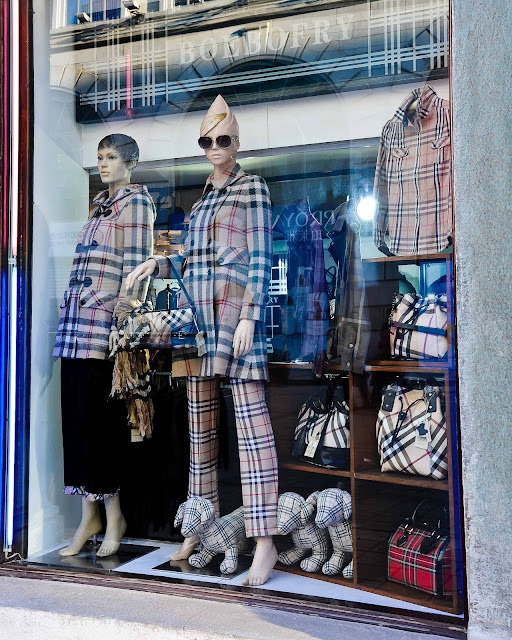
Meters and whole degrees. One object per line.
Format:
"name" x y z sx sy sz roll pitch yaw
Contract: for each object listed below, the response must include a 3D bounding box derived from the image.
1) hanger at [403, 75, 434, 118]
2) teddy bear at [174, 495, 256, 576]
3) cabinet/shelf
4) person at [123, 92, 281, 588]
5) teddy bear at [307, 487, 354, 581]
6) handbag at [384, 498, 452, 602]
"hanger" 0.486 -0.664 2.228 0.033 0.097 0.070 32 -19 -25
"teddy bear" -0.125 0.694 2.459 0.183 0.231 0.310 -15 -9 30
"cabinet/shelf" 0.312 0.352 2.170 0.270 0.889 0.889 8 -10 -43
"person" -0.120 0.019 2.407 0.453 1.255 0.255 -3 -1 40
"teddy bear" 0.233 0.640 2.315 0.155 0.245 0.165 -4 6 34
"handbag" 0.440 0.613 2.029 0.067 0.235 0.258 -2 -1 -25
